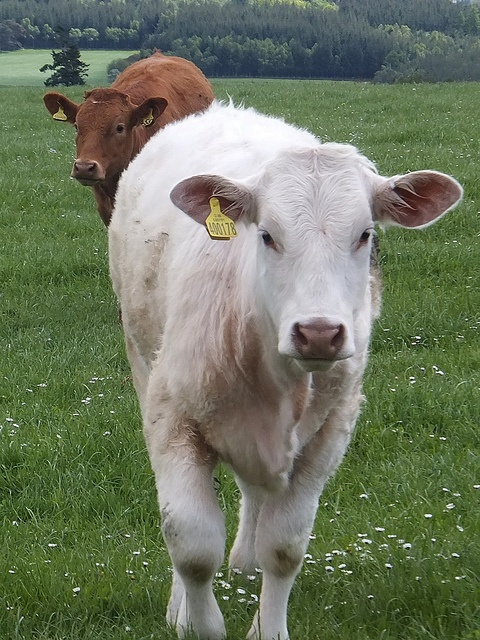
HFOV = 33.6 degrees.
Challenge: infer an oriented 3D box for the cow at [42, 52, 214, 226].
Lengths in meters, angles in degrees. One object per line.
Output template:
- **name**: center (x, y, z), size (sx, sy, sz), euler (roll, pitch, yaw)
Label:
- **cow**: center (-1.136, -1.918, 9.026), size (1.216, 1.746, 3.278), euler (6, 26, 11)

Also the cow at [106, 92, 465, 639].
- **cow**: center (0.084, 0.164, 3.516), size (1.055, 1.987, 2.142), euler (-4, 18, -11)
